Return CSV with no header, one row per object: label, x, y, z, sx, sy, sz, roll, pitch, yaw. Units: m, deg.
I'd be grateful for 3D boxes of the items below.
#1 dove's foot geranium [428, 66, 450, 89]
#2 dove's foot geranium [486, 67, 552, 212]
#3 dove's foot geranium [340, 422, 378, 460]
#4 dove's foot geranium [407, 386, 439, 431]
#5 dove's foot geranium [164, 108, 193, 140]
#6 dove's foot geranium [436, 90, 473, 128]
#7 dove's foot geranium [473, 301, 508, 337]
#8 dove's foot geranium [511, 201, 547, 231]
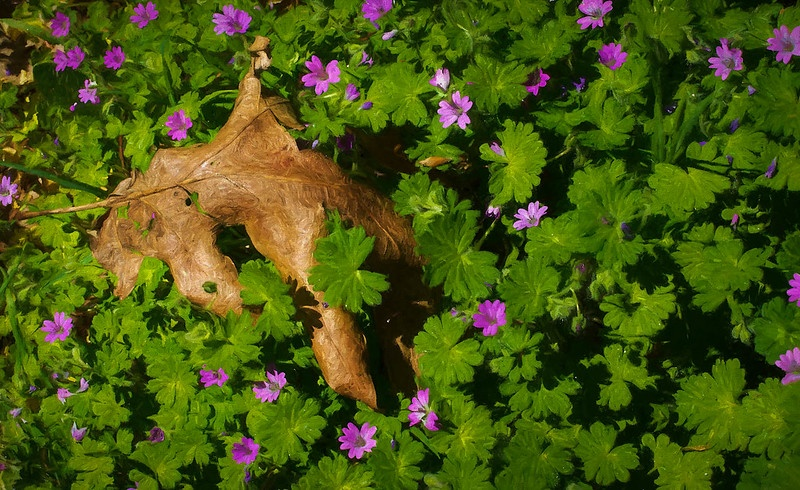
dove's foot geranium,0.359,-1.482,6.840,0.179,0.205,0.156,-8,6,5
dove's foot geranium,1.025,-0.918,6.916,0.564,1.159,0.673,-7,6,8
dove's foot geranium,-0.352,1.699,6.556,0.320,0.405,0.257,-9,6,1
dove's foot geranium,0.206,1.432,6.514,0.291,0.339,0.157,19,14,31
dove's foot geranium,-2.105,-1.134,7.144,0.229,0.289,0.128,5,7,-7
dove's foot geranium,0.516,-1.194,6.753,0.330,0.341,0.209,-13,8,-29
dove's foot geranium,0.790,0.598,6.410,0.313,0.179,0.330,10,33,33
dove's foot geranium,1.151,-0.247,6.725,0.284,0.243,0.334,-12,7,-24
